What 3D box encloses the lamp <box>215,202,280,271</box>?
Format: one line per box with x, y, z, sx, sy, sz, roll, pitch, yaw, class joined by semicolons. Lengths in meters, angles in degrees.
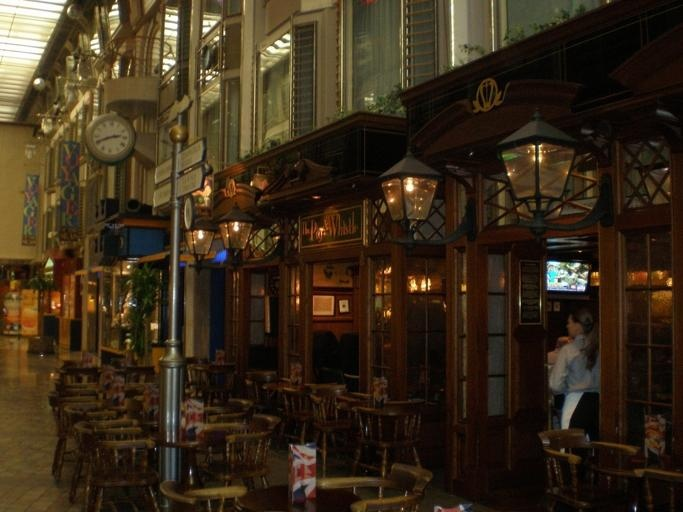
-1.411;-0.299;13.867;1.055;1.513;0.963;2;0;-41;lamp

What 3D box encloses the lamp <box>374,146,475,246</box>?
0.963;-0.624;9.402;0.966;1.012;0.612;0;0;-15;lamp

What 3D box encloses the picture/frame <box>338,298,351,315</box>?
0.057;0.977;16.924;0.266;0.346;0.041;4;-19;-31;picture/frame

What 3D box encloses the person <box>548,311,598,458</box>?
2.825;1.430;10.667;0.569;1.560;0.492;0;-8;14;person

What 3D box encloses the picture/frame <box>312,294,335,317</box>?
-0.340;0.928;16.538;0.476;0.393;0.039;8;-14;-44;picture/frame

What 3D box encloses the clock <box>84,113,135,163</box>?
-3.487;-1.836;13.277;0.593;0.768;0.981;1;-8;4;clock

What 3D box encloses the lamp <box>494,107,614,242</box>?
2.074;-0.771;8.470;1.199;1.156;0.700;5;-10;-19;lamp

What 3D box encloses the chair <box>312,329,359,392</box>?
-0.129;1.723;14.844;0.762;1.125;0.781;2;-2;-34;chair

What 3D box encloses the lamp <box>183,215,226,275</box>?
-2.137;-0.210;13.612;0.624;0.981;0.678;2;-3;-5;lamp
